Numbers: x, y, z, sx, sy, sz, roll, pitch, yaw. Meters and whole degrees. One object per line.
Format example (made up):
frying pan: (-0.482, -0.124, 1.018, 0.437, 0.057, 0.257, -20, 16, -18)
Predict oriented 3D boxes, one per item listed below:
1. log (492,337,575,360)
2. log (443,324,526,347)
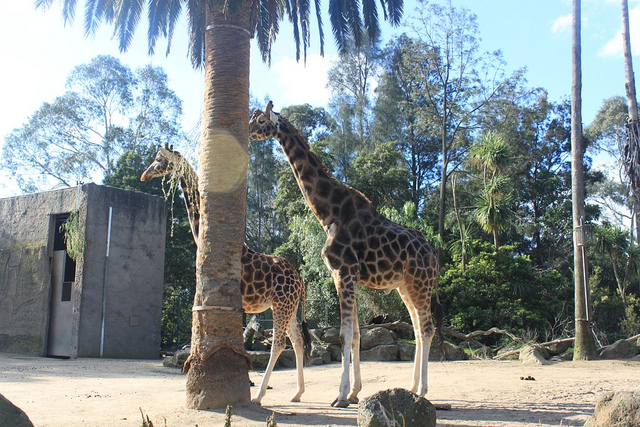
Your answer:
log: (8.842, 5.607, 25.324, 3.700, 0.177, 0.500, -13, 2, -25)
log: (7.676, 5.452, 27.662, 4.434, 1.145, 1.446, 3, -3, 0)
